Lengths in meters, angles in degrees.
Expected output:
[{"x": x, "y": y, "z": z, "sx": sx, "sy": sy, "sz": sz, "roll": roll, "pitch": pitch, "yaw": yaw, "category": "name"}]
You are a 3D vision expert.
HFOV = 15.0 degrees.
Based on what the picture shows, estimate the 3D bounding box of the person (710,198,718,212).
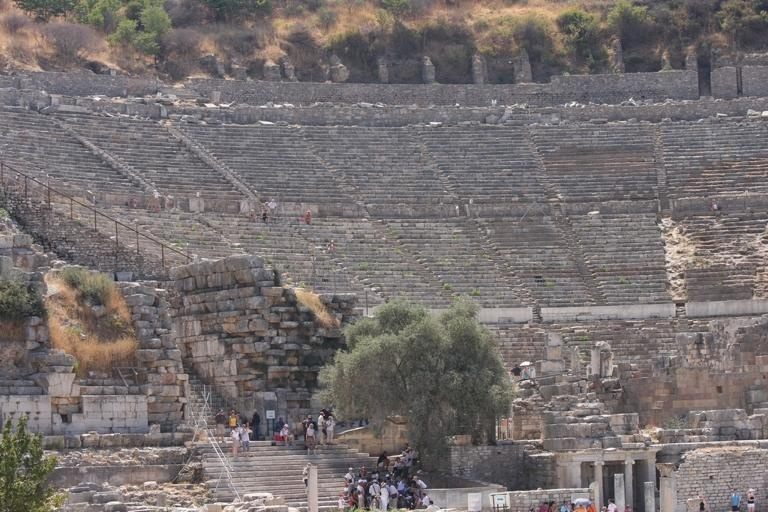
[{"x": 18.778, "y": -3.011, "z": 166.916, "sx": 0.439, "sy": 0.688, "sz": 0.233, "roll": -4, "pitch": -9, "yaw": 6, "category": "person"}]

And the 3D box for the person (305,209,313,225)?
[{"x": -4.421, "y": -2.310, "z": 165.120, "sx": 0.476, "sy": 1.015, "sz": 1.279, "roll": -2, "pitch": -8, "yaw": -2, "category": "person"}]

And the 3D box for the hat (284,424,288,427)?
[{"x": -5.049, "y": 8.315, "z": 146.471, "sx": 0.116, "sy": 0.141, "sz": 0.146, "roll": -3, "pitch": 25, "yaw": -40, "category": "hat"}]

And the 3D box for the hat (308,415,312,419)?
[{"x": -3.859, "y": 7.876, "z": 145.808, "sx": 0.152, "sy": 0.131, "sz": 0.134, "roll": 1, "pitch": 7, "yaw": 1, "category": "hat"}]

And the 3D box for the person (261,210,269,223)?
[{"x": -6.820, "y": -2.308, "z": 164.055, "sx": 0.359, "sy": 0.802, "sz": 0.889, "roll": -2, "pitch": -8, "yaw": -3, "category": "person"}]

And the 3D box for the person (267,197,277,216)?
[{"x": -6.478, "y": -2.852, "z": 165.215, "sx": 0.593, "sy": 1.057, "sz": 1.448, "roll": -2, "pitch": -8, "yaw": -1, "category": "person"}]
